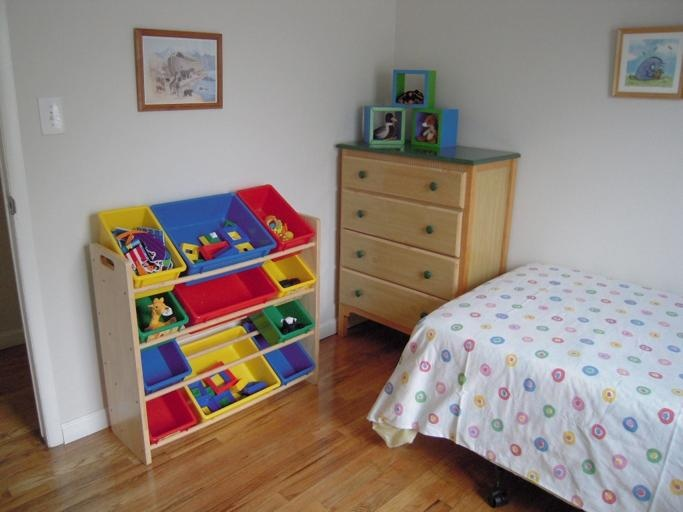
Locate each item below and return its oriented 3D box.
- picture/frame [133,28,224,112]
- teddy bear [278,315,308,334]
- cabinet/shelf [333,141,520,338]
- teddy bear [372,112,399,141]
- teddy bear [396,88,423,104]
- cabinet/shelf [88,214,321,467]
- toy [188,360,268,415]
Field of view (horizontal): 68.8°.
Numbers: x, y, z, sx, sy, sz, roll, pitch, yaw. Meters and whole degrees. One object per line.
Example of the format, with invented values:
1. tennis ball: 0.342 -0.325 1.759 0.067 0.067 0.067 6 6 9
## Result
1. picture/frame: -0.827 -0.936 2.481 0.430 0.360 0.031 -13 25 -40
2. teddy bear: -0.281 0.390 2.852 0.106 0.035 0.105 -16 32 -34
3. cabinet/shelf: 0.484 -0.089 3.291 0.977 1.270 0.589 16 24 40
4. teddy bear: 0.291 -0.820 3.150 0.195 0.195 0.126 -7 25 -13
5. teddy bear: 0.442 -1.021 3.214 0.138 0.053 0.114 8 36 19
6. cabinet/shelf: -0.659 0.335 2.695 0.442 1.081 1.167 18 22 38
7. toy: -0.617 0.720 2.740 0.312 0.108 0.250 -23 53 -26
